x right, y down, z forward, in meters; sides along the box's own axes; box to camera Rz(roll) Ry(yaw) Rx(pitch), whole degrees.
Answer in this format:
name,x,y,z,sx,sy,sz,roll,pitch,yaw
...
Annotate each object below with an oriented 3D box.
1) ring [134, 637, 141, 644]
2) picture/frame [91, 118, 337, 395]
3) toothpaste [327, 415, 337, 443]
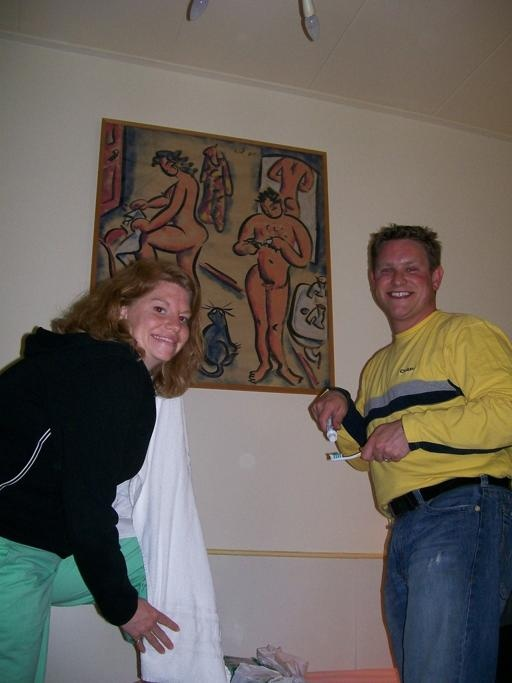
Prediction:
name,x,y,z,sx,sy,sz,roll,pitch,yaw
ring,-0.288,0.738,1.602,0.015,0.018,0.006,2,-2,-1
picture/frame,-0.174,-0.307,2.487,1.280,1.186,0.058,5,-18,-14
toothpaste,0.221,0.251,1.896,0.033,0.015,0.086,1,18,5
